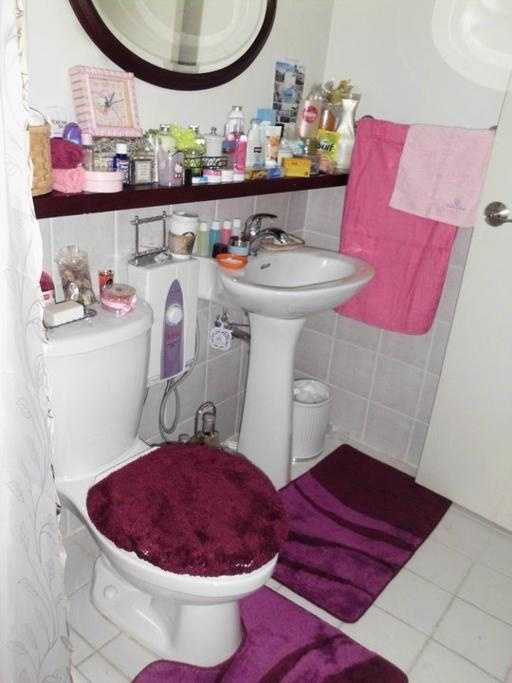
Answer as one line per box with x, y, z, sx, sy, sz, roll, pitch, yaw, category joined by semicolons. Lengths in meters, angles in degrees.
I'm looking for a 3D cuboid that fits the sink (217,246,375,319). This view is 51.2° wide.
0.150;-0.183;1.576;0.285;0.122;0.349;18;31;30;sink

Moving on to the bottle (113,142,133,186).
-0.287;-0.380;1.154;0.033;0.088;0.117;1;24;-8;bottle

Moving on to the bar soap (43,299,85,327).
-0.406;-0.073;1.112;0.048;0.042;0.090;35;41;27;bar soap

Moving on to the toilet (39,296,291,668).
-0.216;0.339;1.218;0.624;0.666;0.383;15;18;37;toilet

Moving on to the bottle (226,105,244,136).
-0.061;-0.622;1.513;0.045;0.081;0.094;1;24;-6;bottle

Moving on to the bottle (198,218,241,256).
-0.109;-0.302;1.572;0.039;0.085;0.118;20;31;37;bottle

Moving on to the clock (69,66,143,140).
-0.317;-0.518;1.166;0.149;0.135;0.113;-12;29;-33;clock
